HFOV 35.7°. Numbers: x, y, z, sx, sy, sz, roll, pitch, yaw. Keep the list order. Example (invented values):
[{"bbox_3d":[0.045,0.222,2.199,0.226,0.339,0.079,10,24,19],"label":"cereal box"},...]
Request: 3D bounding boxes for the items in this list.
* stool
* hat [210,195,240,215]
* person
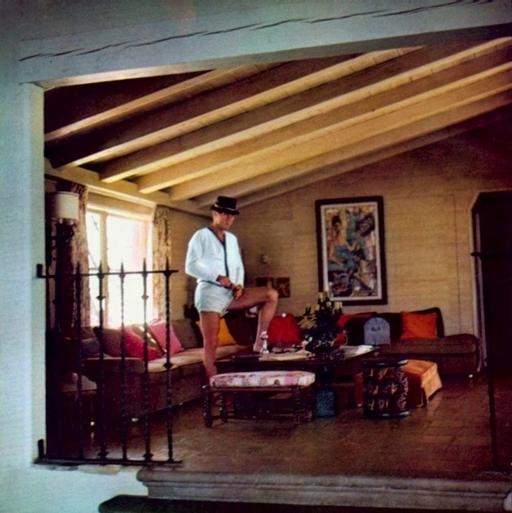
[{"bbox_3d":[0.017,1.116,6.403,0.860,0.439,1.051,-2,-3,-1],"label":"stool"},{"bbox_3d":[-0.246,-0.420,6.501,0.238,0.081,0.187,14,7,0],"label":"hat"},{"bbox_3d":[-0.225,0.240,6.530,0.725,1.464,0.429,-1,-3,-18],"label":"person"}]
